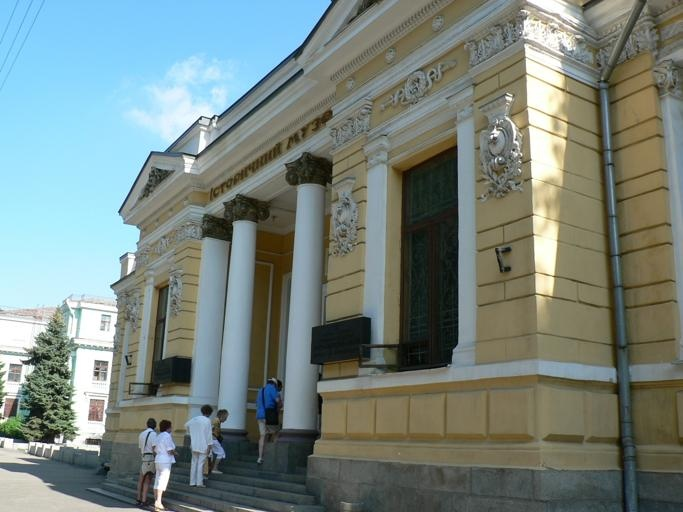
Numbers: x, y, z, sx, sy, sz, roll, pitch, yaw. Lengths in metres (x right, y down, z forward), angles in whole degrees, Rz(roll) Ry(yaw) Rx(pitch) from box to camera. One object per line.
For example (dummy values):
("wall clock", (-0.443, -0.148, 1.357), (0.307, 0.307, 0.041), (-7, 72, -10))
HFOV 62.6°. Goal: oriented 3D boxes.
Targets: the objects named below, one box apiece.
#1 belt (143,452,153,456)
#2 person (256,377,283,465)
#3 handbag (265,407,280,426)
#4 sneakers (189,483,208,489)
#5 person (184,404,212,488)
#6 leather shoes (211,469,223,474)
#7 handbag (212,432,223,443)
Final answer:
("belt", (-4.275, 4.348, 12.425), (0.218, 0.084, 0.053), (1, -20, 0))
("person", (-1.795, 3.948, 13.791), (0.612, 2.084, 1.100), (3, -20, -7))
("handbag", (-1.708, 3.855, 13.633), (0.373, 0.388, 0.208), (10, -26, -34))
("sneakers", (-3.388, 5.378, 13.247), (0.436, 0.079, 0.210), (-10, -23, 27))
("person", (-3.397, 4.551, 13.326), (0.574, 1.633, 0.584), (4, -20, -9))
("leather shoes", (-3.047, 5.263, 13.782), (0.259, 0.086, 0.524), (5, -21, -12))
("handbag", (-3.154, 4.608, 14.331), (0.190, 0.312, 0.309), (15, -29, -35))
